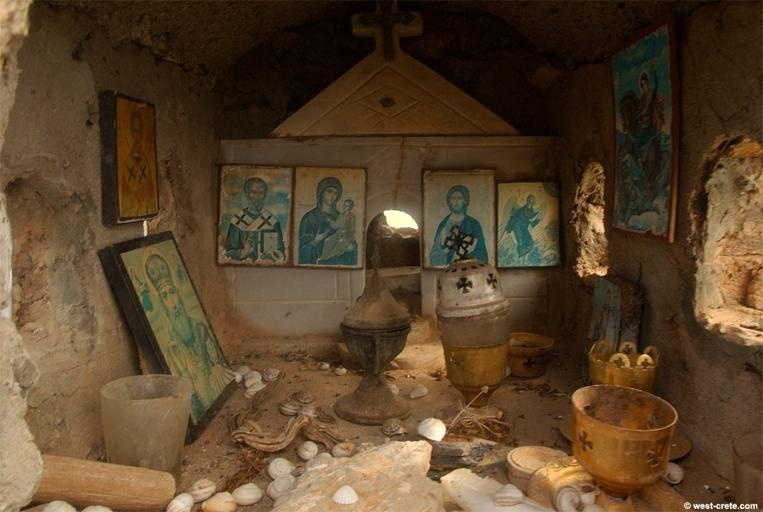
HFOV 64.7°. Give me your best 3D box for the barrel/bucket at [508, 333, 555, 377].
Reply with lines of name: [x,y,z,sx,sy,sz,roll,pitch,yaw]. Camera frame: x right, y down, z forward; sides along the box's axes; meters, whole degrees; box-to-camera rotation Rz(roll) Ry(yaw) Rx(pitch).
barrel/bucket: [2.057,1.385,8.550,0.742,0.412,0.678,0,5,0]

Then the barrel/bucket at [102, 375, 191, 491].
barrel/bucket: [-2.388,1.703,6.154,1.060,1.045,1.018,2,-1,0]

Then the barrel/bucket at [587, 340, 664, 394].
barrel/bucket: [2.618,1.260,6.578,0.763,0.529,0.697,1,2,0]
